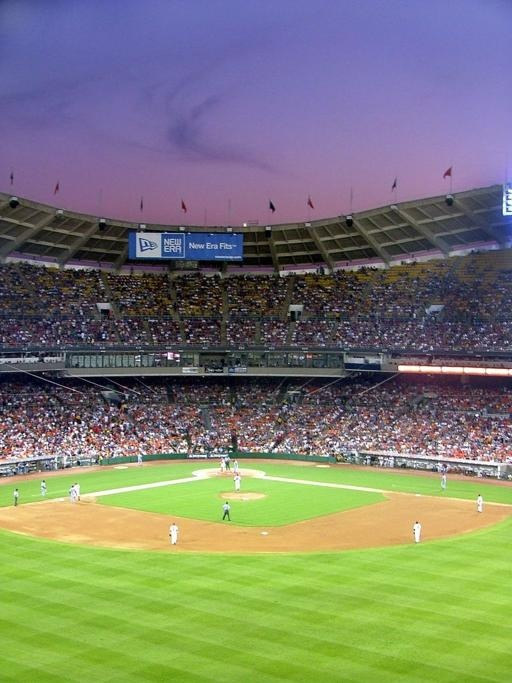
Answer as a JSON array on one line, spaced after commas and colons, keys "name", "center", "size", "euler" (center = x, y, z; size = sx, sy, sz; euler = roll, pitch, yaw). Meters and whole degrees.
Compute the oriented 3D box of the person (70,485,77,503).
[{"name": "person", "center": [-12.510, 10.404, 46.200], "size": [0.444, 1.158, 0.594], "euler": [-2, 1, -12]}]
